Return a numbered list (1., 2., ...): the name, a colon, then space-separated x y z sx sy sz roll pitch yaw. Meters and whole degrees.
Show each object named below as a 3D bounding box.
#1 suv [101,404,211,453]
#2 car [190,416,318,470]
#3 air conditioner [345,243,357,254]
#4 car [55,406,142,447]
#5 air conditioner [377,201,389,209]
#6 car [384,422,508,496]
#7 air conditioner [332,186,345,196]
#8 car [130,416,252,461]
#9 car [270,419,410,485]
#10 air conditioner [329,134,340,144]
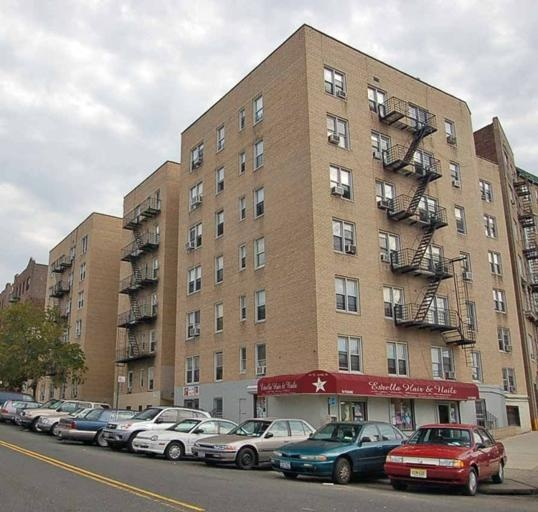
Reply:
1. suv: -4.051 6.292 21.137 3.526 1.349 1.765 10 -19 -27
2. car: -0.456 5.694 17.738 2.939 0.976 1.697 10 -18 -32
3. air conditioner: 4.262 -0.344 29.936 0.569 0.405 0.836 0 -3 30
4. car: -6.792 6.806 23.275 3.038 0.863 1.669 4 -10 -25
5. air conditioner: 6.434 -2.860 32.220 0.869 0.399 0.557 1 -1 -30
6. car: 4.360 4.919 14.152 1.719 1.659 3.099 -16 -25 37
7. air conditioner: 3.632 -3.387 30.086 0.608 0.423 0.885 -1 -8 31
8. car: -2.800 6.010 19.300 3.127 0.874 1.503 10 -17 -33
9. car: 1.882 5.033 15.075 3.059 0.970 1.707 14 -23 -36
10. air conditioner: 3.474 -6.239 30.915 0.625 0.362 0.333 8 -14 -36
